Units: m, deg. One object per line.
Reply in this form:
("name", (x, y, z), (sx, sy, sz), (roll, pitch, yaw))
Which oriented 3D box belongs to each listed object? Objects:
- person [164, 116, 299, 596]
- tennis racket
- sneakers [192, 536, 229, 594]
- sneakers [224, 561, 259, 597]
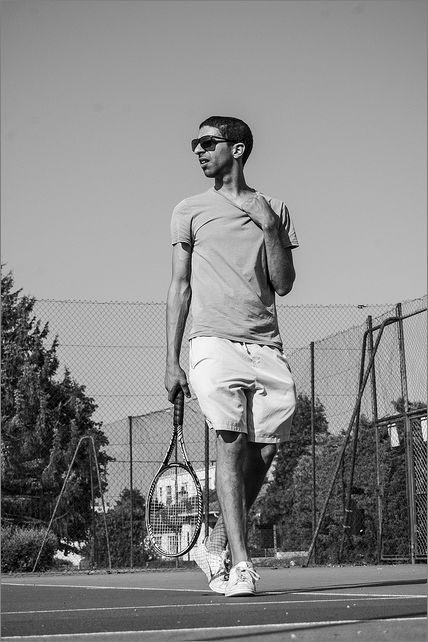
("person", (0.055, 0.120, 5.816), (0.502, 2.190, 0.531), (-8, -12, 36))
("tennis racket", (-0.185, 0.638, 6.284), (0.277, 1.078, 0.047), (-2, 20, -14))
("sneakers", (0.007, 1.075, 5.693), (0.089, 0.125, 0.286), (17, 28, -38))
("sneakers", (0.107, 1.061, 5.334), (0.136, 0.143, 0.125), (-2, -11, 1))
